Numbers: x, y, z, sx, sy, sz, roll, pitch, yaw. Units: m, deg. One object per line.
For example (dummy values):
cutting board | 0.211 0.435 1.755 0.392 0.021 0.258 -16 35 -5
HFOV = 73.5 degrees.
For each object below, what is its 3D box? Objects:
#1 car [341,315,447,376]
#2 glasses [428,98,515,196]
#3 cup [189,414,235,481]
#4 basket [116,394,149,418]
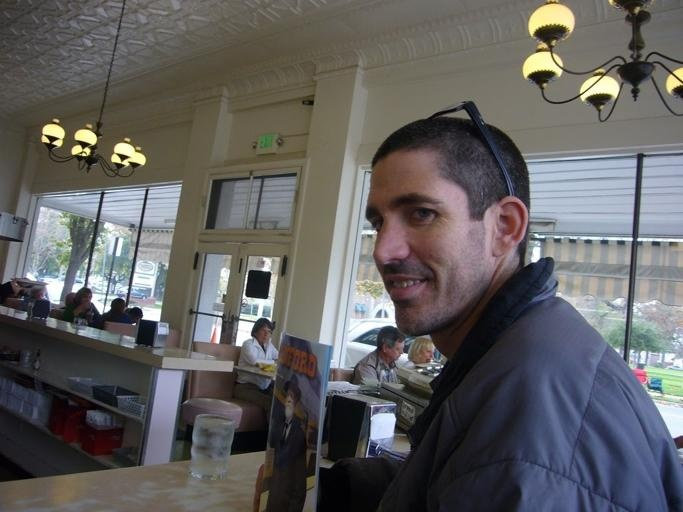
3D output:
car | 0.709 1.426 7.482 1.719 0.693 0.822 -6 -9 40
glasses | 0.269 -0.222 0.880 0.178 0.050 0.180 14 -44 53
cup | -0.375 0.542 1.333 0.144 0.171 0.149 7 -6 1
basket | -1.144 0.816 2.511 0.112 0.047 0.139 29 -23 -36
